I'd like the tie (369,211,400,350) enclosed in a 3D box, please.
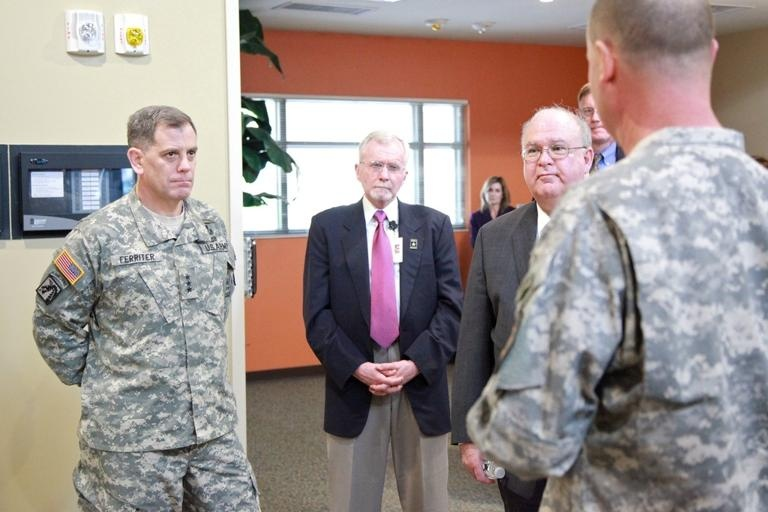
[{"bbox_3d":[-0.002,0.132,3.298,0.130,0.542,0.121,-3,6,-3],"label":"tie"}]
